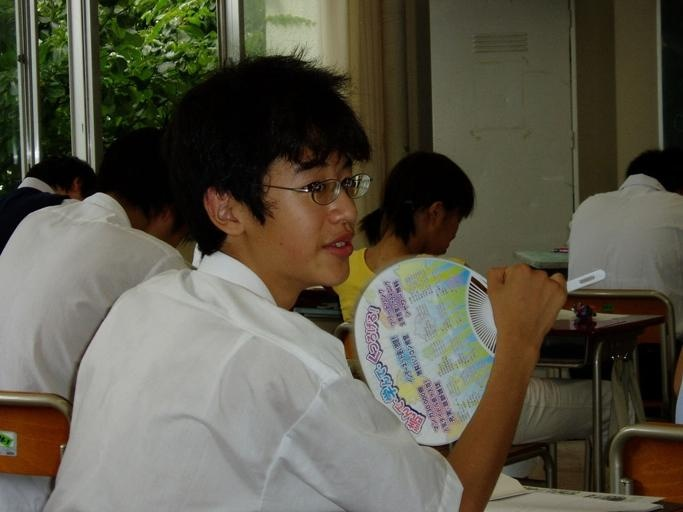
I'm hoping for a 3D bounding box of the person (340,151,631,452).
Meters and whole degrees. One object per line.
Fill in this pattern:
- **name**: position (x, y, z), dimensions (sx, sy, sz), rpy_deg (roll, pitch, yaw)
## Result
- **person**: position (0.496, 0.302, 3.163), dimensions (0.968, 1.534, 0.895), rpy_deg (10, 13, -6)
